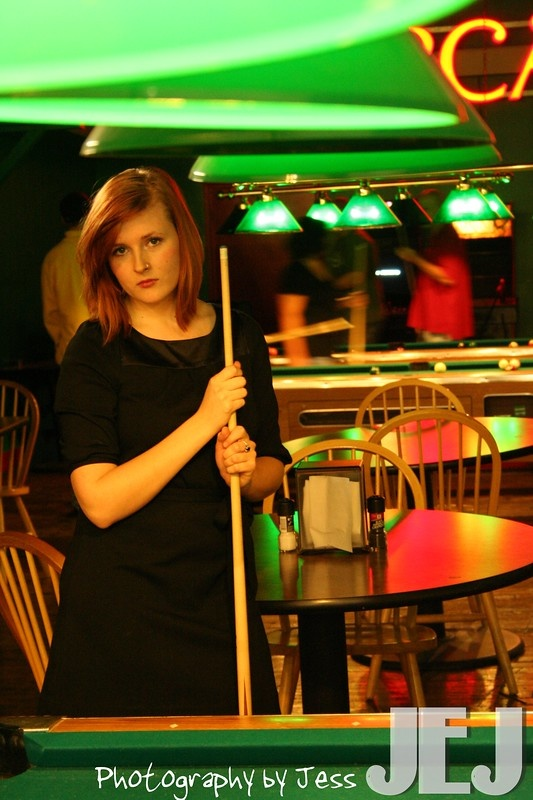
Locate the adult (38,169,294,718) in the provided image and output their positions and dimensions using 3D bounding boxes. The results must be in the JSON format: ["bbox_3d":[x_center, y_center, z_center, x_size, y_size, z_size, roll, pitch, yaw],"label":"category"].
[{"bbox_3d":[-0.158,0.076,1.324,0.516,0.892,0.369,-2,1,-16],"label":"adult"}]

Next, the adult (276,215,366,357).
[{"bbox_3d":[0.435,-0.884,5.614,0.597,1.624,0.692,2,35,3],"label":"adult"}]

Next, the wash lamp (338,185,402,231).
[{"bbox_3d":[0.709,-1.308,5.050,0.347,0.193,0.324,-2,4,0],"label":"wash lamp"}]

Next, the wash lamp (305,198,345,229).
[{"bbox_3d":[0.453,-1.450,5.621,0.316,0.281,0.354,1,-14,2],"label":"wash lamp"}]

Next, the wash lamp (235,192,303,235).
[{"bbox_3d":[0.025,-1.354,5.438,0.382,0.210,0.356,-1,3,0],"label":"wash lamp"}]

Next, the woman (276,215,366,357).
[{"bbox_3d":[0.435,-0.884,5.614,0.596,1.624,0.692,2,35,3],"label":"woman"}]

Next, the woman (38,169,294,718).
[{"bbox_3d":[-0.158,0.076,1.324,0.516,0.892,0.369,-2,1,-16],"label":"woman"}]

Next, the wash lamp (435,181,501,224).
[{"bbox_3d":[1.406,-1.394,5.160,0.336,0.181,0.317,-1,-1,11],"label":"wash lamp"}]
